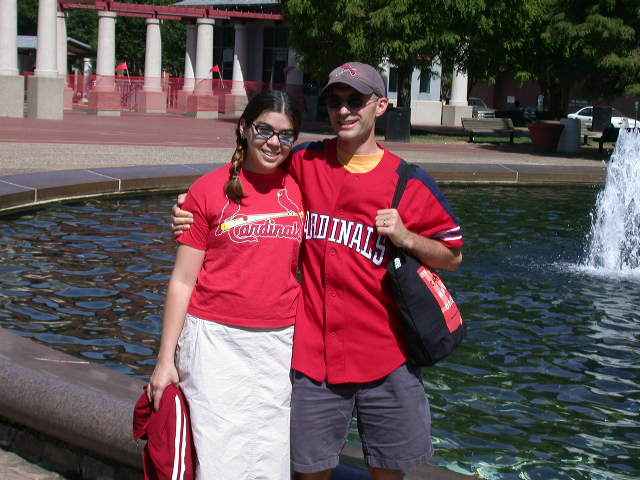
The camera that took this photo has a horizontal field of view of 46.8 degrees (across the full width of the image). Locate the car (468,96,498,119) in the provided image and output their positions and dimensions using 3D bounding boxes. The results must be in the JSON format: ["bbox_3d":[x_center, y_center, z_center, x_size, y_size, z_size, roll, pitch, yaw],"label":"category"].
[{"bbox_3d":[10.563,-8.761,48.745,1.745,1.778,8.901,5,7,10],"label":"car"}]

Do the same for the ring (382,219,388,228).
[{"bbox_3d":[0.329,-0.083,3.789,0.033,0.034,0.015,-3,2,29],"label":"ring"}]
